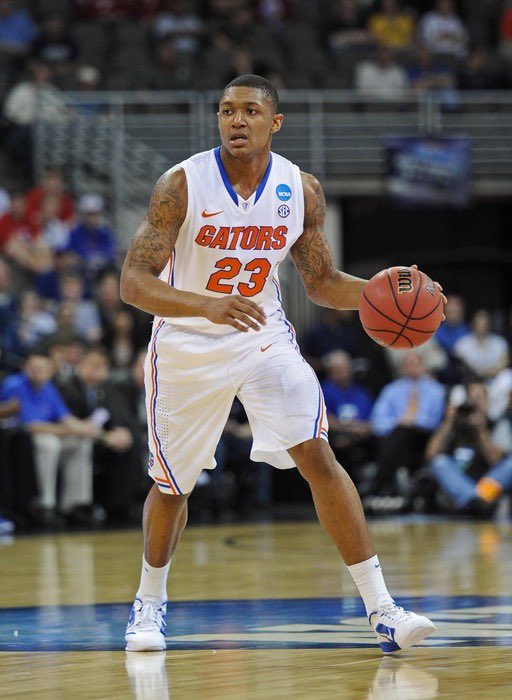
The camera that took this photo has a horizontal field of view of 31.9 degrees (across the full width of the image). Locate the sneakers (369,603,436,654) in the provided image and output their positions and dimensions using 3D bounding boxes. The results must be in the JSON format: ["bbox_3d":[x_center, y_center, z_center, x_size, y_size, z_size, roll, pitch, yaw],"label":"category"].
[{"bbox_3d":[0.379,0.758,2.379,0.127,0.159,0.198,-5,6,-8],"label":"sneakers"}]

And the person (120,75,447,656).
[{"bbox_3d":[-0.043,0.050,2.600,0.835,1.725,0.842,-5,6,-3],"label":"person"}]
